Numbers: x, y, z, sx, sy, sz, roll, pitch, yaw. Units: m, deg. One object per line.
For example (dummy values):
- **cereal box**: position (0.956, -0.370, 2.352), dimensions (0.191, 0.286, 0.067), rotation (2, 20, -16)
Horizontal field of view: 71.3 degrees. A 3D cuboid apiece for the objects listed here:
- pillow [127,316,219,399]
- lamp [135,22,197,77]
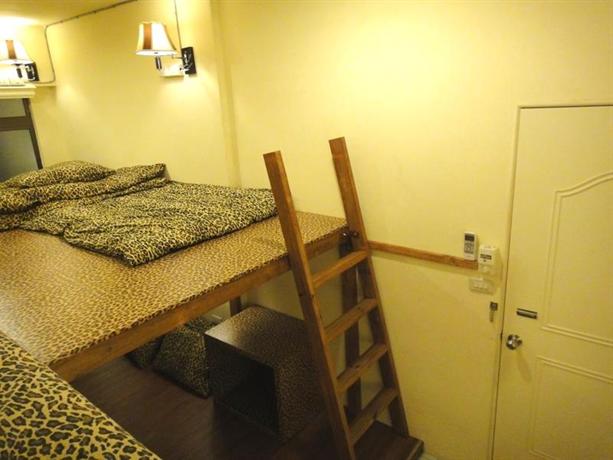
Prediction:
- **pillow**: position (-1.173, 1.160, 3.955), dimensions (0.713, 0.216, 0.627), rotation (15, 28, 34)
- **lamp**: position (-1.136, -1.429, 3.440), dimensions (0.272, 0.376, 0.444), rotation (14, 23, 38)
